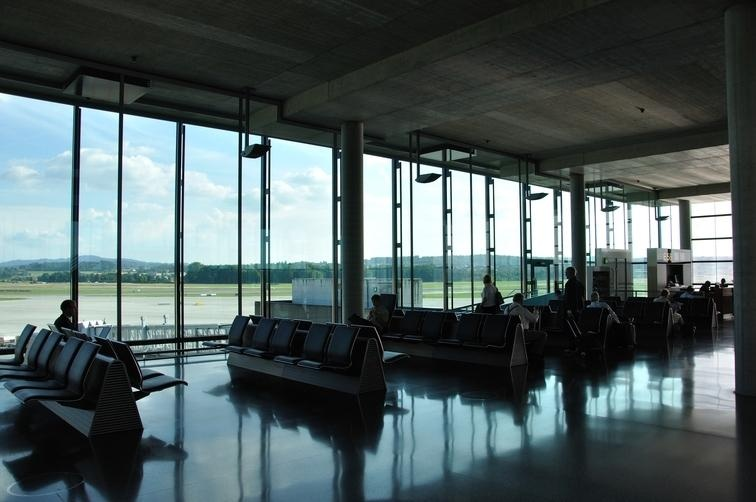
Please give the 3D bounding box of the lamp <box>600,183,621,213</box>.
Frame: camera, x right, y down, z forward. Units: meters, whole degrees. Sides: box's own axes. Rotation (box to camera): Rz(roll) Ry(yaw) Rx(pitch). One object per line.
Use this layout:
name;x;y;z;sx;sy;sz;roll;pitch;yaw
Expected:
lamp;8.729;-2.030;22.284;0.437;1.062;1.365;-1;-2;42

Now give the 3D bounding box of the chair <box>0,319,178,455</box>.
chair;-3.883;1.917;7.906;1.488;0.749;2.283;-1;-1;-39

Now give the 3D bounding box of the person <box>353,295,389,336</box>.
person;-0.194;1.318;12.429;0.906;0.743;0.551;11;2;-34

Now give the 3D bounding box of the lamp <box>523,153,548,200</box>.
lamp;4.953;-2.247;18.730;0.568;1.381;1.438;0;6;6

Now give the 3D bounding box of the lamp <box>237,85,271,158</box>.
lamp;-2.818;-2.819;13.293;0.618;1.498;1.891;-2;6;-11
